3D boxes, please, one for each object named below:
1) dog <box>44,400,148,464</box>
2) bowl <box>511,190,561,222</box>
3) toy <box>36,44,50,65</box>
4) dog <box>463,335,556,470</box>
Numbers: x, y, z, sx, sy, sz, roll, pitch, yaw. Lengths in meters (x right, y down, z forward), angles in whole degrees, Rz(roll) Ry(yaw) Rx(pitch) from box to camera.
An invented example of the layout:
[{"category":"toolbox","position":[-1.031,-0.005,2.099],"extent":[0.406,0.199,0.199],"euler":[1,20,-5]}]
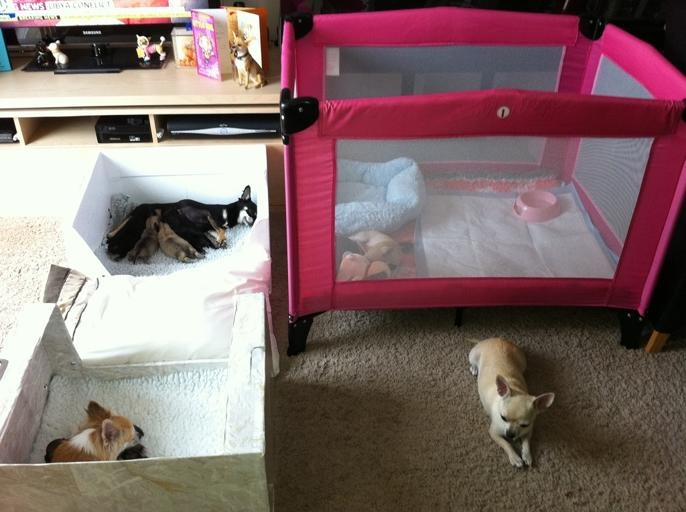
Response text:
[{"category":"dog","position":[-0.592,0.417,1.130],"extent":[0.184,0.116,0.063],"euler":[-2,45,-16]},{"category":"bowl","position":[0.632,-0.164,1.564],"extent":[0.115,0.031,0.123],"euler":[-4,48,4]},{"category":"toy","position":[-1.289,-0.854,2.058],"extent":[0.056,0.083,0.029],"euler":[3,8,-8]},{"category":"dog","position":[0.512,0.366,1.524],"extent":[0.179,0.247,0.537],"euler":[-3,30,7]}]
